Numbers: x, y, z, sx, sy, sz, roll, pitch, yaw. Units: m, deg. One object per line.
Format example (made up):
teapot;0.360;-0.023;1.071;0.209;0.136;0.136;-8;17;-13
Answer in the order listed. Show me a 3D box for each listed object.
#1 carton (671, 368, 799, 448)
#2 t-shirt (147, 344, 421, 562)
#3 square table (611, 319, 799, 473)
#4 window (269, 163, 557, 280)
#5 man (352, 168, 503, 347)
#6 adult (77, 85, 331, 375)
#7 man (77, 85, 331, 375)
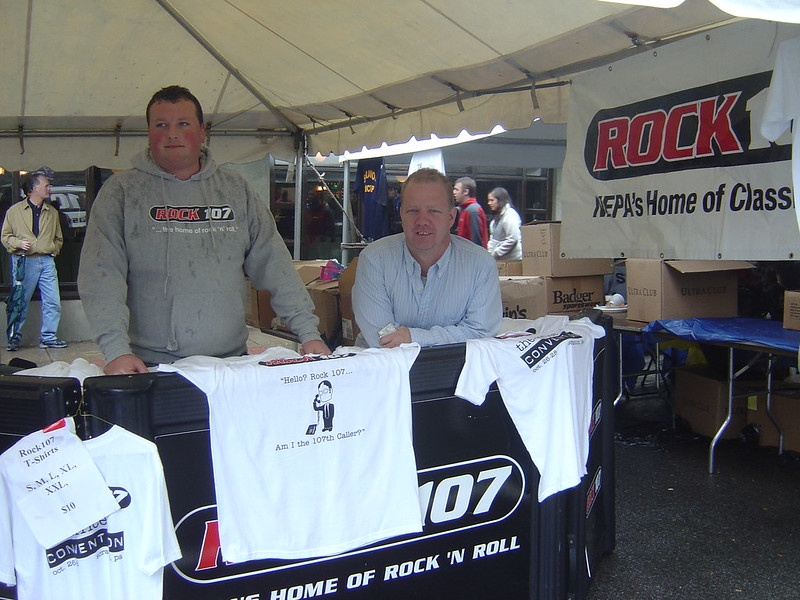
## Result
carton;2.668;0.717;5.456;0.453;0.450;0.822;-10;14;-31
t-shirt;-0.356;0.589;2.707;0.834;0.845;0.261;-6;4;-18
square table;2.386;0.407;5.031;1.093;0.780;1.102;-3;8;-24
window;0.462;-1.700;12.194;4.390;1.635;1.435;4;17;14
man;0.153;-0.201;3.476;0.704;0.888;0.433;-5;10;-23
adult;-0.975;-0.255;3.306;1.029;1.600;0.724;-4;-5;-37
man;-1.000;-0.241;3.312;1.061;1.598;0.679;-3;-5;-41
